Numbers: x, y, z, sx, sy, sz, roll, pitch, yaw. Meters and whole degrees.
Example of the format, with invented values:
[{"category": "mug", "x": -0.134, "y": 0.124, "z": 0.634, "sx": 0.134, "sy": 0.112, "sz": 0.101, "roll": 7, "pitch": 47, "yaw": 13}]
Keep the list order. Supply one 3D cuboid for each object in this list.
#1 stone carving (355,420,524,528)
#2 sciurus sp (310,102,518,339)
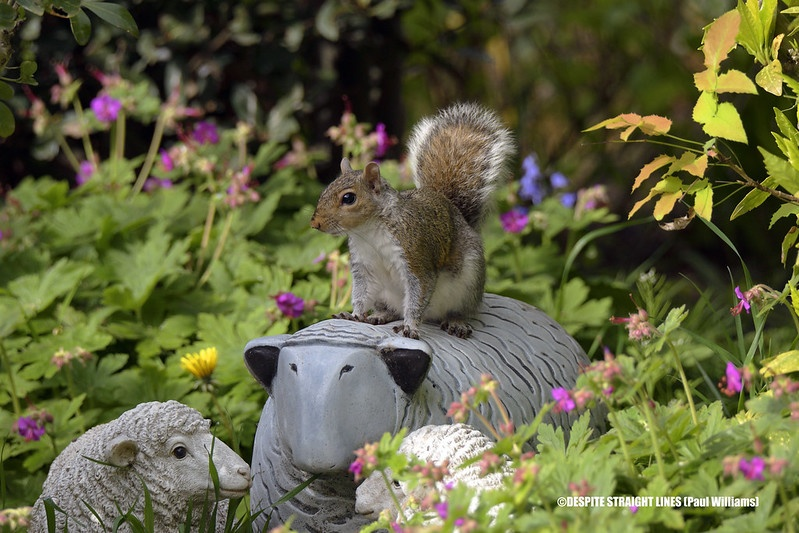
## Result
[{"category": "stone carving", "x": 0.115, "y": 0.856, "z": 4.686, "sx": 0.508, "sy": 0.250, "sz": 0.393, "roll": -21, "pitch": 25, "yaw": -26}, {"category": "sciurus sp", "x": 0.079, "y": -0.212, "z": 5.579, "sx": 0.882, "sy": 1.507, "sz": 0.688, "roll": 0, "pitch": -20, "yaw": -26}]
